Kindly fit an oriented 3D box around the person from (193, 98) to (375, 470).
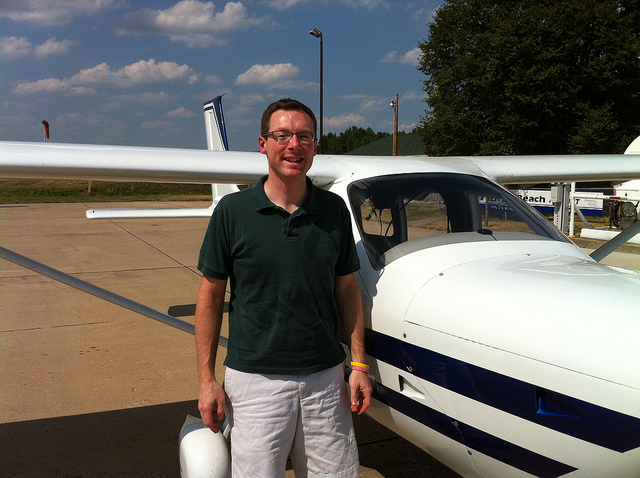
[{"bbox_3d":[-0.180,0.257,2.388,0.883,1.890,0.469,-3,11,-18],"label":"person"}]
